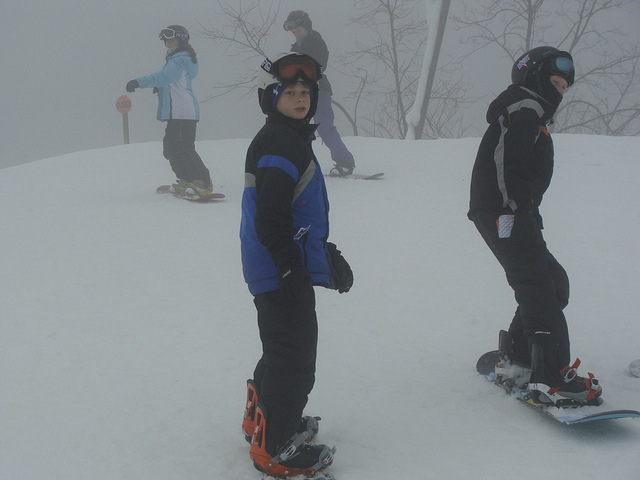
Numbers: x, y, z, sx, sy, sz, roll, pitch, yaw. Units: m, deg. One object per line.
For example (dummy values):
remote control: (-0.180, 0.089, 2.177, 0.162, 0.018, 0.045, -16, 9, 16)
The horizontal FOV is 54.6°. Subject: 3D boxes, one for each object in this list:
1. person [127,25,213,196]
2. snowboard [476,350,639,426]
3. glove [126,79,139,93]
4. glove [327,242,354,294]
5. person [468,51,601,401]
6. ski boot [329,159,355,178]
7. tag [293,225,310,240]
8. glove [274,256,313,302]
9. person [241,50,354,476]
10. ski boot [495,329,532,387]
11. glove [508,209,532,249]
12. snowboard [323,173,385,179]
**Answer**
person: (-1.910, -1.735, 8.305, 0.877, 2.251, 0.624, -2, 9, -14)
snowboard: (1.518, 1.051, 4.166, 0.429, 0.126, 0.870, -1, 13, -33)
glove: (-2.407, -1.978, 7.922, 0.147, 0.176, 0.317, -3, 10, -22)
glove: (0.134, 0.179, 3.868, 0.079, 0.280, 0.210, -17, -14, 21)
person: (1.444, -0.113, 4.163, 0.570, 2.296, 0.760, -3, 10, -21)
ski boot: (0.377, -1.103, 9.700, 0.334, 0.333, 0.244, -18, -2, 21)
tag: (-0.103, -0.045, 3.590, 0.107, 0.079, 0.020, -8, 12, -41)
glove: (-0.145, 0.204, 3.383, 0.178, 0.254, 0.090, -13, 5, -10)
person: (-0.175, 0.135, 3.649, 0.574, 2.437, 0.577, -1, 9, -8)
ski boot: (1.240, 0.814, 4.257, 0.330, 0.353, 0.242, 7, 0, 3)
glove: (1.322, -0.062, 4.081, 0.081, 0.237, 0.174, 1, 3, -16)
snowboard: (0.639, -0.985, 9.440, 0.684, 0.083, 0.297, 1, 10, 4)
